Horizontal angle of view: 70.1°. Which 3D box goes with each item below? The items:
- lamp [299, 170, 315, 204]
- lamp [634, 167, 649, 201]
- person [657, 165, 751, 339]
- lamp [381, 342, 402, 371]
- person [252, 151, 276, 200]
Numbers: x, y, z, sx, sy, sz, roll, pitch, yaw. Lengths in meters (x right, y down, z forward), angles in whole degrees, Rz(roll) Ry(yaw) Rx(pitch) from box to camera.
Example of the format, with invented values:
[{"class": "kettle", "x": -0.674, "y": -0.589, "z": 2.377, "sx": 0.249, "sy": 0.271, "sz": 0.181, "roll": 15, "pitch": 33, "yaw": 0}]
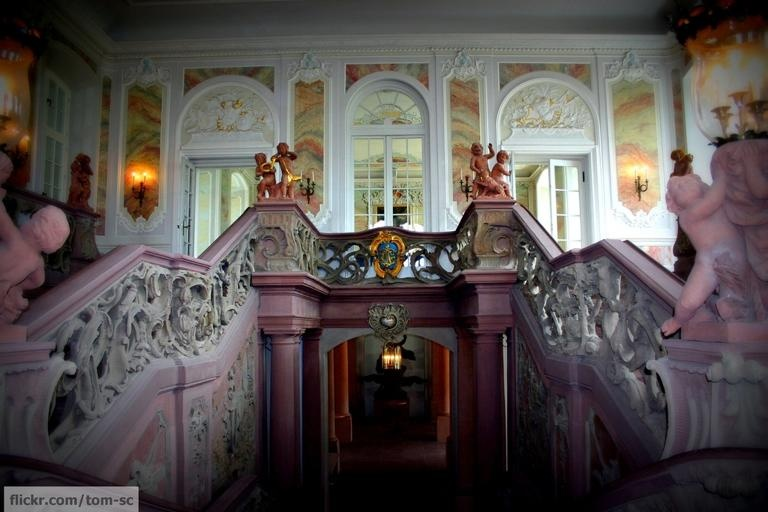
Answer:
[{"class": "lamp", "x": -1.310, "y": -1.134, "z": 9.345, "sx": 0.267, "sy": 0.480, "sz": 0.107, "roll": -1, "pitch": -5, "yaw": -7}, {"class": "lamp", "x": 4.425, "y": -1.229, "z": 9.457, "sx": 0.237, "sy": 0.547, "sz": 0.101, "roll": 1, "pitch": -6, "yaw": -18}, {"class": "person", "x": 1.809, "y": -0.010, "z": 3.139, "sx": 0.460, "sy": 0.939, "sz": 0.229, "roll": -5, "pitch": -6, "yaw": 34}, {"class": "lamp", "x": 0.139, "y": 1.975, "z": 10.683, "sx": 0.327, "sy": 0.517, "sz": 0.548, "roll": -1, "pitch": -5, "yaw": -4}, {"class": "person", "x": -1.341, "y": -0.893, "z": 6.200, "sx": 0.214, "sy": 0.693, "sz": 0.992, "roll": 0, "pitch": -5, "yaw": -13}]
